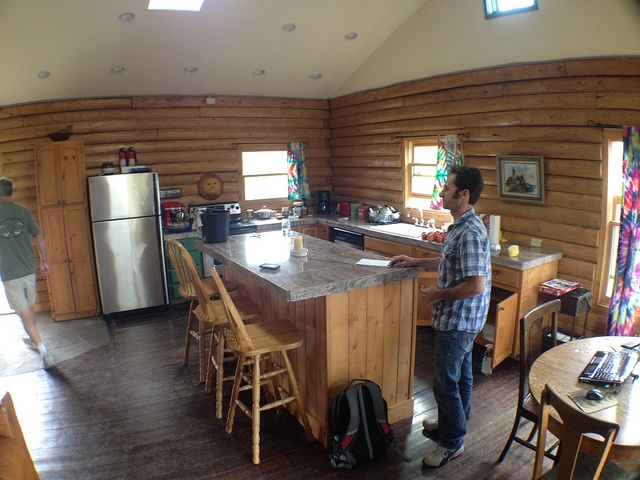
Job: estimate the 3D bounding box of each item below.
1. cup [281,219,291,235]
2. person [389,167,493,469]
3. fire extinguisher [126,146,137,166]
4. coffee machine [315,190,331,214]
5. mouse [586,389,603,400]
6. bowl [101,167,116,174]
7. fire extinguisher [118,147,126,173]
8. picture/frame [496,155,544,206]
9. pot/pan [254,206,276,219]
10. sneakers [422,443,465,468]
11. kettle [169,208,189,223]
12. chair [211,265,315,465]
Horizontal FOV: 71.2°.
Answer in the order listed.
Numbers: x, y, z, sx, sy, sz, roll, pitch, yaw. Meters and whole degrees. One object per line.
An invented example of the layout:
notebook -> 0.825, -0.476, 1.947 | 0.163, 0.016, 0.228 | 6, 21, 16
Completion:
cup -> -0.392, -0.139, 5.203 | 0.087, 0.191, 0.234 | -3, 6, -8
person -> 1.124, 0.629, 3.726 | 0.543, 2.455, 0.561 | -1, 6, 13
fire extinguisher -> -2.891, -1.294, 6.859 | 0.109, 0.308, 0.195 | -3, 6, -11
coffee machine -> 0.070, -0.713, 8.276 | 0.254, 0.441, 0.359 | -2, 6, -1
mouse -> 1.839, 1.036, 2.982 | 0.075, 0.029, 0.080 | -9, 24, 21
bowl -> -3.122, -1.071, 6.607 | 0.097, 0.116, 0.179 | 0, 3, 41
fire extinguisher -> -2.977, -1.215, 6.748 | 0.134, 0.396, 0.261 | -5, 7, -25
picture/frame -> 2.412, -0.731, 5.316 | 0.045, 0.598, 0.602 | -12, 13, -36
pot/pan -> -0.935, -0.479, 7.768 | 0.396, 0.223, 0.345 | -4, 6, -18
sneakers -> 1.020, 1.769, 3.769 | 0.381, 0.147, 0.134 | -9, 11, -21
kettle -> -2.197, -0.390, 6.971 | 0.274, 0.252, 0.190 | -2, 10, -3
chair -> -0.513, 1.056, 3.969 | 0.794, 1.608, 0.743 | -6, 10, -21
